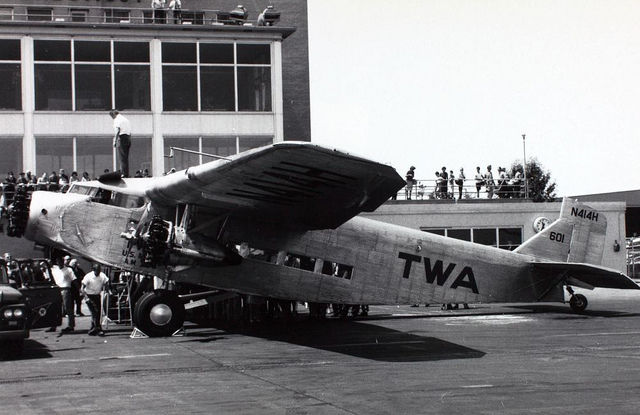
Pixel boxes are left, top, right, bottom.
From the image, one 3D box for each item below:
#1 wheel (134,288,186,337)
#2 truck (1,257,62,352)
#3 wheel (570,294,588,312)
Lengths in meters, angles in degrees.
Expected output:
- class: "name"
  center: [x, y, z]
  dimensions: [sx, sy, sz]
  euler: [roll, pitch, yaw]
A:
- class: "wheel"
  center: [-5.754, 3.789, 30.657]
  dimensions: [1.915, 1.713, 0.905]
  euler: [0, -2, -17]
- class: "truck"
  center: [-9.729, 3.193, 29.112]
  dimensions: [1.784, 2.925, 4.557]
  euler: [2, -2, -14]
- class: "wheel"
  center: [10.648, 3.972, 35.816]
  dimensions: [0.835, 0.753, 0.288]
  euler: [-4, 2, 1]
